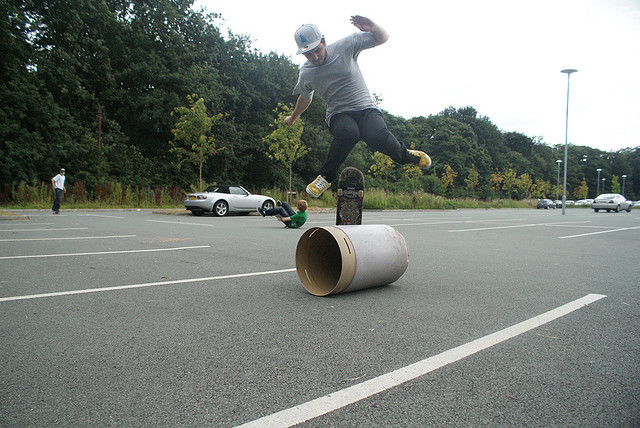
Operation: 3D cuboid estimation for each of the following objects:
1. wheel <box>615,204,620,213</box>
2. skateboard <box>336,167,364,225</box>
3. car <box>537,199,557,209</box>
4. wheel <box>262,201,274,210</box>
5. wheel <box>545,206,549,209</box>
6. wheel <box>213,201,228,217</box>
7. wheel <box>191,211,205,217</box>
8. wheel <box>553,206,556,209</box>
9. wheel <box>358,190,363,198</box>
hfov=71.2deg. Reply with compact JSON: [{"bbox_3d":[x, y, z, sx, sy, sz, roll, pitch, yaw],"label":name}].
[{"bbox_3d":[24.256,-0.427,36.520,0.143,0.477,0.457,-12,30,-3],"label":"wheel"},{"bbox_3d":[0.537,-0.308,7.844,0.462,0.235,1.663,6,-13,5],"label":"skateboard"},{"bbox_3d":[28.415,-1.213,56.444,2.519,1.265,1.651,-5,6,-29],"label":"car"},{"bbox_3d":[-2.344,-0.360,19.927,0.415,0.455,0.141,8,-2,-24],"label":"wheel"},{"bbox_3d":[28.370,-0.713,55.842,0.321,0.251,0.456,14,6,-30],"label":"wheel"},{"bbox_3d":[-4.265,-0.208,19.162,0.621,0.631,0.344,-2,9,-20],"label":"wheel"},{"bbox_3d":[-5.274,0.005,19.412,0.464,0.201,0.894,-2,9,-18],"label":"wheel"},{"bbox_3d":[29.961,-0.743,57.232,0.187,0.271,0.867,19,3,35],"label":"wheel"},{"bbox_3d":[0.675,-0.323,7.474,0.034,0.120,0.105,5,9,29],"label":"wheel"}]
